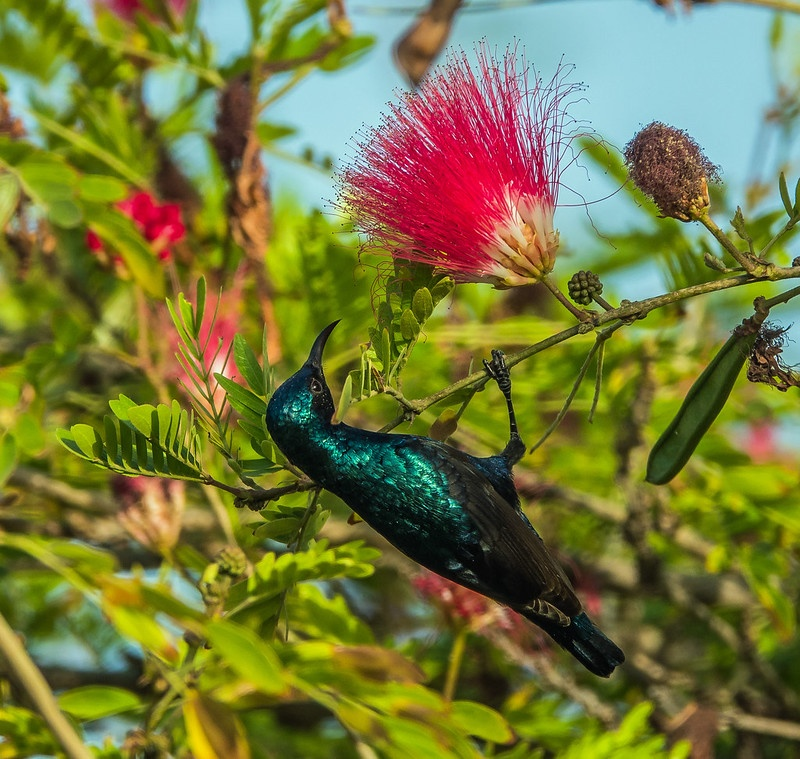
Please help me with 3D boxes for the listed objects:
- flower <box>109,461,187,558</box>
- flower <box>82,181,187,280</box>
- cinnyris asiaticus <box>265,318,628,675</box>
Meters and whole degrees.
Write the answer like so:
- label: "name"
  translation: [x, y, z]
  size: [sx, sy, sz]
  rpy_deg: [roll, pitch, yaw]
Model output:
- label: "flower"
  translation: [-0.839, 0.439, 3.991]
  size: [0.297, 0.196, 0.096]
  rpy_deg: [8, -9, 32]
- label: "flower"
  translation: [-0.846, -0.518, 3.868]
  size: [0.289, 0.253, 0.069]
  rpy_deg: [17, 29, -18]
- label: "cinnyris asiaticus"
  translation: [0.088, 0.381, 3.112]
  size: [1.041, 0.330, 0.760]
  rpy_deg: [39, 7, 22]
